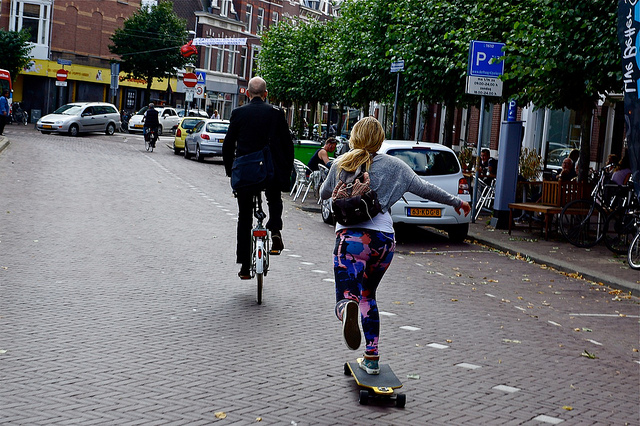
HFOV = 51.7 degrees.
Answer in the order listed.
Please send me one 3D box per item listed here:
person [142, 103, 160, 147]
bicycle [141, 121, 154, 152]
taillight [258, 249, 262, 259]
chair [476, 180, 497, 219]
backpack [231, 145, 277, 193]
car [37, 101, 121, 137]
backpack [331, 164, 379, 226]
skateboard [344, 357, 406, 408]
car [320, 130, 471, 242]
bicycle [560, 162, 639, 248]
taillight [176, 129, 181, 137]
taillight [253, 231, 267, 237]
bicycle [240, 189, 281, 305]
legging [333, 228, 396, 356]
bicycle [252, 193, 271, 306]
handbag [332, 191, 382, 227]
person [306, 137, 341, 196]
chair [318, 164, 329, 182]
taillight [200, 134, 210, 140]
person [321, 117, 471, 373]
[{"bbox_3d":[-8.196,-4.169,32.024,0.646,1.833,1.010,2,7,-16],"label":"person"},{"bbox_3d":[-8.287,-3.568,32.122,0.354,1.122,0.969,2,8,-17],"label":"bicycle"},{"bbox_3d":[-0.739,0.496,8.160,0.047,0.096,0.073,3,7,-9],"label":"taillight"},{"bbox_3d":[5.016,-0.518,19.869,0.455,0.999,2.435,6,8,14],"label":"chair"},{"bbox_3d":[-0.863,-0.540,8.316,0.508,0.505,0.241,-12,-16,25],"label":"backpack"},{"bbox_3d":[-14.645,-5.798,40.583,1.650,2.047,5.231,7,8,24],"label":"car"},{"bbox_3d":[0.304,-0.137,5.819,0.426,0.529,0.305,-11,1,17],"label":"backpack"},{"bbox_3d":[0.499,1.480,5.869,0.416,0.182,0.716,3,8,-11],"label":"skateboard"},{"bbox_3d":[2.100,-0.732,15.210,1.811,1.614,3.146,-1,10,-11],"label":"car"},{"bbox_3d":[6.372,-0.070,14.929,1.433,1.520,2.089,11,10,43],"label":"bicycle"},{"bbox_3d":[-7.066,-4.008,33.062,0.371,0.312,0.643,2,8,-14],"label":"taillight"},{"bbox_3d":[-0.763,0.249,8.336,0.129,0.068,0.028,3,-3,-11],"label":"taillight"},{"bbox_3d":[-0.767,0.377,8.520,0.476,1.388,0.932,3,7,-5],"label":"bicycle"},{"bbox_3d":[0.366,0.688,5.753,0.520,1.110,0.533,4,7,2],"label":"legging"},{"bbox_3d":[-0.759,0.418,8.511,0.229,1.311,0.907,3,7,-5],"label":"bicycle"},{"bbox_3d":[0.321,-0.003,5.701,0.352,0.319,0.289,-12,-15,-1],"label":"handbag"},{"bbox_3d":[0.101,-1.215,18.226,0.924,1.743,0.660,1,20,-5],"label":"person"},{"bbox_3d":[0.070,-1.080,17.368,0.154,0.430,0.315,-18,23,-38],"label":"chair"},{"bbox_3d":[-5.189,-3.443,29.841,0.479,0.215,0.072,8,8,25],"label":"taillight"},{"bbox_3d":[0.523,0.301,5.878,0.865,2.251,0.896,2,7,-19],"label":"person"}]
